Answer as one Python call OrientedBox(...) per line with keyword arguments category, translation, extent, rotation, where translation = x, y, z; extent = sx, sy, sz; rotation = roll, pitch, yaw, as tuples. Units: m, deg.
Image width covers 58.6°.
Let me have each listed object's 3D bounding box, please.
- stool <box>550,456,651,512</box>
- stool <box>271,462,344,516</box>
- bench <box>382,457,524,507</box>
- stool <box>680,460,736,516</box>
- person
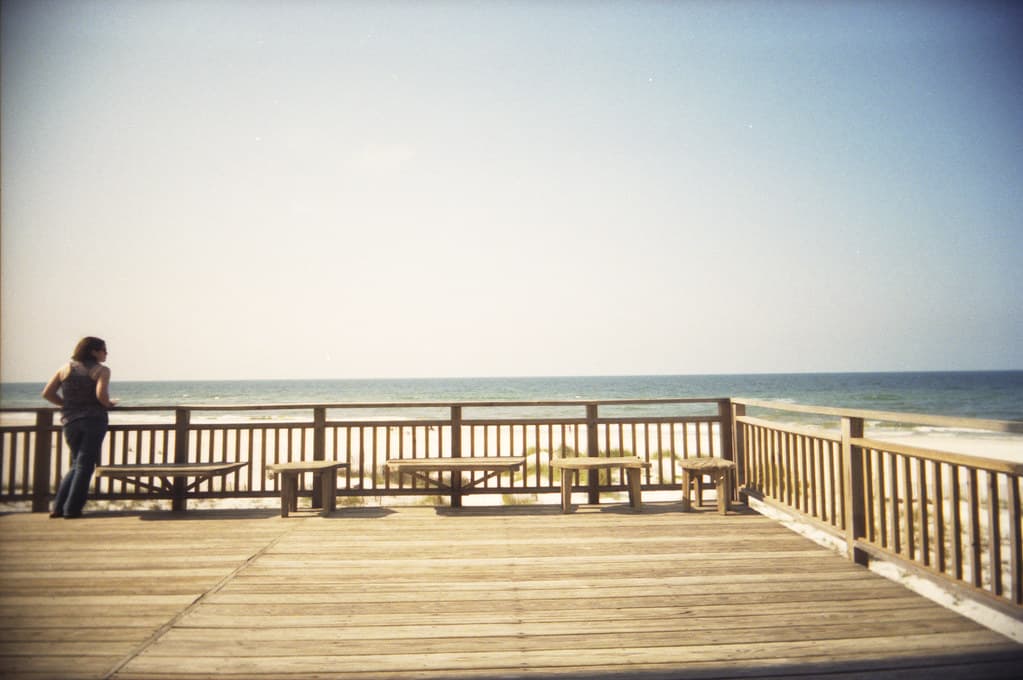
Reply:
OrientedBox(category="stool", translation=(1.675, 2.551, 17.162), extent=(1.306, 0.604, 1.217), rotation=(0, -21, -1))
OrientedBox(category="stool", translation=(-3.885, 2.766, 16.874), extent=(1.326, 0.586, 0.705), rotation=(4, -8, -25))
OrientedBox(category="bench", translation=(-1.324, 2.720, 17.875), extent=(2.468, 0.933, 3.063), rotation=(-1, -4, -19))
OrientedBox(category="stool", translation=(3.764, 2.642, 17.088), extent=(1.213, 0.969, 1.157), rotation=(-1, 5, 22))
OrientedBox(category="person", translation=(-7.944, 1.581, 16.728), extent=(1.207, 3.345, 0.896), rotation=(-5, -5, 42))
